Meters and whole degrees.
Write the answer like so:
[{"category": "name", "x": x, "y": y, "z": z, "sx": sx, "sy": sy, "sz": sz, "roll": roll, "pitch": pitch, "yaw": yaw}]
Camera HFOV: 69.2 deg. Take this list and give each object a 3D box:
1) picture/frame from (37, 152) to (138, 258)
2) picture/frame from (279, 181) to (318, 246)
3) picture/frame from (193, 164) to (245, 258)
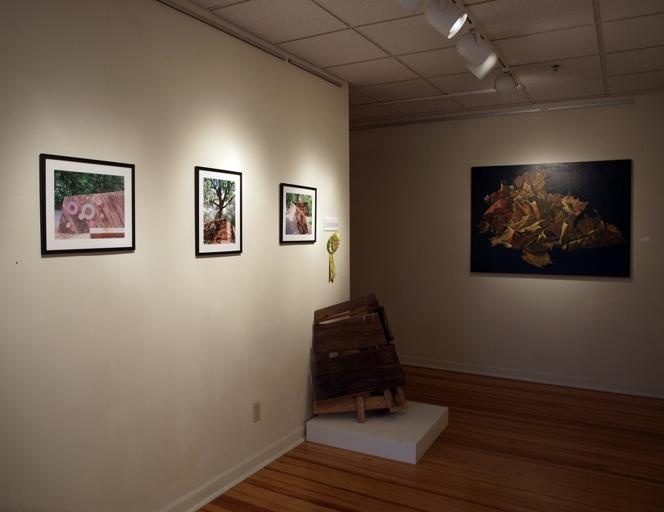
[{"category": "picture/frame", "x": -1.387, "y": -0.297, "z": 2.698, "sx": 0.019, "sy": 0.617, "sz": 0.553, "roll": 3, "pitch": 4, "yaw": 34}, {"category": "picture/frame", "x": -0.285, "y": -0.372, "z": 4.268, "sx": 0.020, "sy": 0.532, "sz": 0.492, "roll": 2, "pitch": 3, "yaw": 37}, {"category": "picture/frame", "x": -0.827, "y": -0.337, "z": 3.476, "sx": 0.032, "sy": 0.959, "sz": 0.634, "roll": 2, "pitch": 2, "yaw": 28}]
